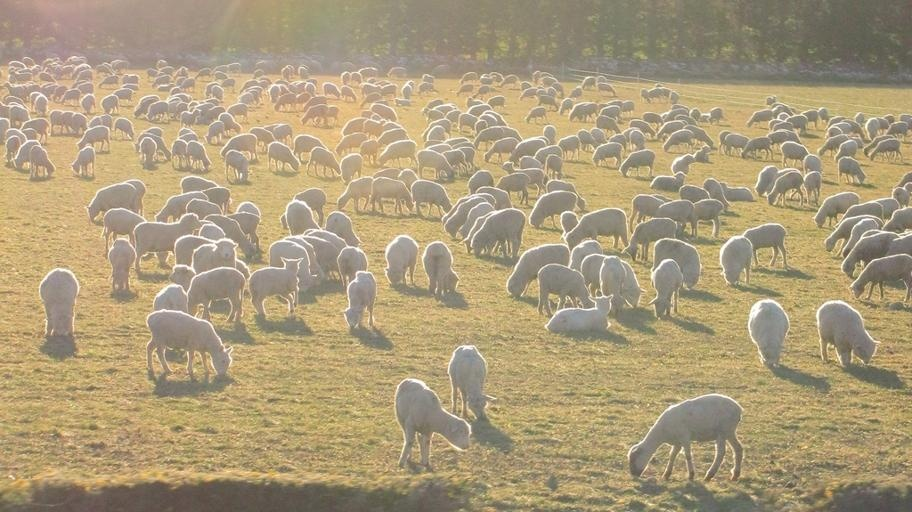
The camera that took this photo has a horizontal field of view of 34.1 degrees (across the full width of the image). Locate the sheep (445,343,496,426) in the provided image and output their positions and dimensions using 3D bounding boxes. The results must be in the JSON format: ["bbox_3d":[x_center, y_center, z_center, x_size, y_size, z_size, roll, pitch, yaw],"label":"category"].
[{"bbox_3d":[0.605,8.007,92.634,3.433,4.709,2.360,2,0,3],"label":"sheep"}]

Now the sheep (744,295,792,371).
[{"bbox_3d":[19.991,4.977,94.913,2.143,4.193,1.117,3,9,7],"label":"sheep"}]
